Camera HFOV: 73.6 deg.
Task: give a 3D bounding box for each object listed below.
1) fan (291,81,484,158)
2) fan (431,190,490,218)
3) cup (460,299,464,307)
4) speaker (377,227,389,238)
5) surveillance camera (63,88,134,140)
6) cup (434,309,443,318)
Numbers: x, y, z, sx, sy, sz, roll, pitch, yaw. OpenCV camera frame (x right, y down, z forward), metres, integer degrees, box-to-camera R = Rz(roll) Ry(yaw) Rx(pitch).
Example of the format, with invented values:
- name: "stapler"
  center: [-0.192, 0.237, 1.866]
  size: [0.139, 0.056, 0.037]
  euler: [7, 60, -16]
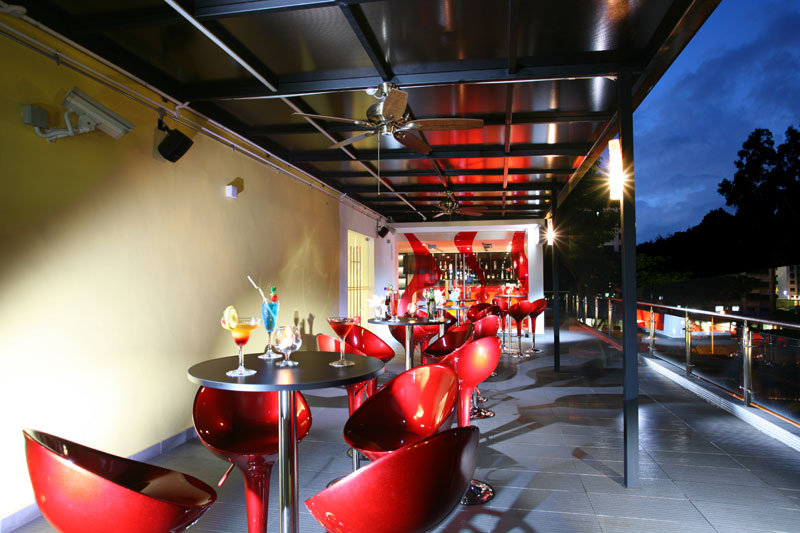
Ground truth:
- name: "fan"
  center: [-0.091, -1.488, 5.466]
  size: [1.627, 0.588, 1.179]
  euler: [4, -3, 13]
- name: "fan"
  center: [1.018, -1.077, 9.581]
  size: [0.660, 0.264, 0.719]
  euler: [0, -2, -22]
- name: "cup"
  center: [1.114, 0.710, 9.858]
  size: [0.072, 0.143, 0.146]
  euler: [-1, -5, 14]
- name: "speaker"
  center: [-0.417, -0.781, 12.538]
  size: [0.068, 0.251, 0.227]
  euler: [36, -25, -22]
- name: "surveillance camera"
  center: [-2.688, -1.367, 4.778]
  size: [0.513, 0.395, 0.147]
  euler: [-5, 10, -30]
- name: "cup"
  center: [0.518, 0.683, 7.467]
  size: [0.096, 0.115, 0.099]
  euler: [2, 2, 0]
